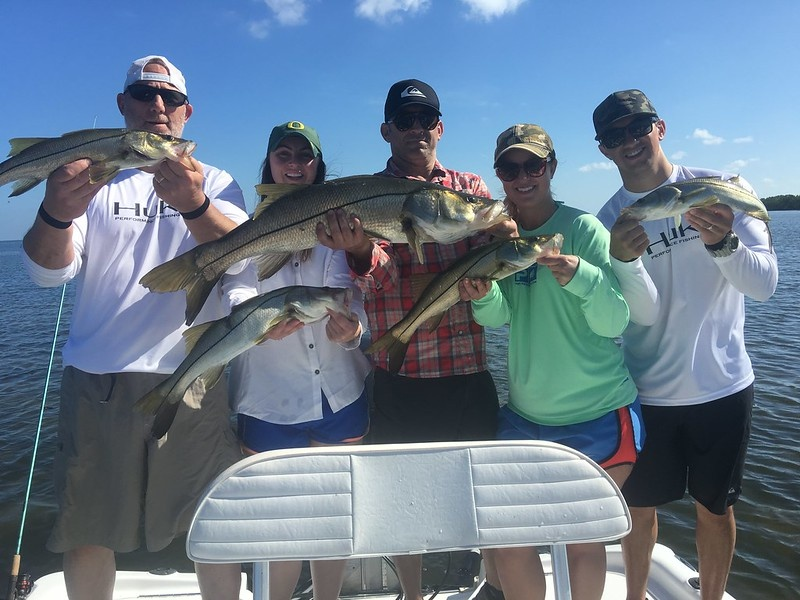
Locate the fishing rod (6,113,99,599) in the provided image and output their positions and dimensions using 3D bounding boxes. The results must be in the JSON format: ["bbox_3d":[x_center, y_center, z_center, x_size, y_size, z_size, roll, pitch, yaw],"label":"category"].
[{"bbox_3d":[-3.274,0.880,5.721,0.413,4.285,0.370,6,6,-10],"label":"fishing rod"}]

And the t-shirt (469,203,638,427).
[{"bbox_3d":[1.071,0.097,4.490,1.118,1.631,0.986,-4,1,19],"label":"t-shirt"}]

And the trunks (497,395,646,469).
[{"bbox_3d":[1.250,0.954,4.372,0.716,0.408,0.546,0,-7,-12],"label":"trunks"}]

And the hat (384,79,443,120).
[{"bbox_3d":[0.104,-1.583,4.831,0.402,0.316,0.568,-1,3,-10],"label":"hat"}]

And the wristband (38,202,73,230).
[{"bbox_3d":[-2.282,-0.555,4.055,0.197,0.181,0.168,-9,8,-29],"label":"wristband"}]

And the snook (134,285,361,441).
[{"bbox_3d":[-1.096,0.431,4.258,1.328,0.504,0.289,-34,-14,-17],"label":"snook"}]

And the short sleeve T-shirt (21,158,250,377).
[{"bbox_3d":[-1.761,-0.245,4.217,1.205,1.460,0.762,-4,-24,-4],"label":"short sleeve T-shirt"}]

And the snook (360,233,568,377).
[{"bbox_3d":[0.402,-0.037,4.211,1.542,0.375,0.551,-37,-48,12],"label":"snook"}]
